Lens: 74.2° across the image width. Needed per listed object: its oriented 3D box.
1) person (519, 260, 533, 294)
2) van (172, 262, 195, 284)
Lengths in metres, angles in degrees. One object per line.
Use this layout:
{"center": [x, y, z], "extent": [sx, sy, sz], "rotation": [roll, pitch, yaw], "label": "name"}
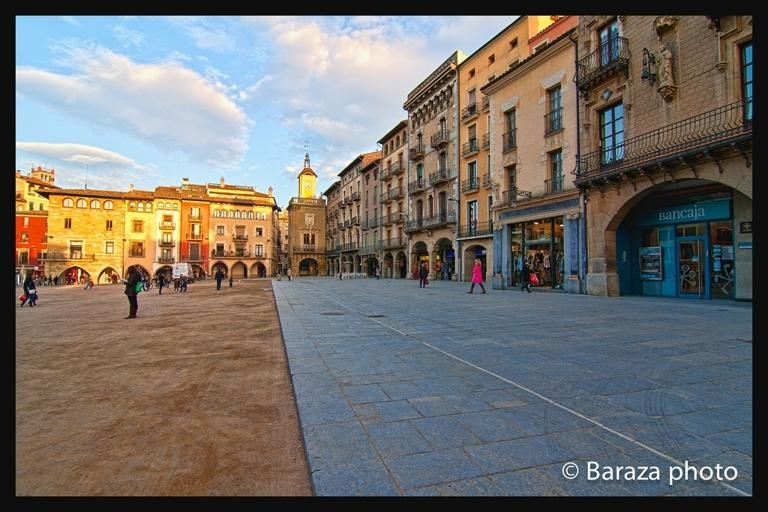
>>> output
{"center": [6.116, 0.776, 21.850], "extent": [0.474, 1.383, 1.399], "rotation": [-1, -1, 14], "label": "person"}
{"center": [-15.771, 1.291, 39.258], "extent": [1.939, 1.552, 2.800], "rotation": [0, 3, -9], "label": "van"}
